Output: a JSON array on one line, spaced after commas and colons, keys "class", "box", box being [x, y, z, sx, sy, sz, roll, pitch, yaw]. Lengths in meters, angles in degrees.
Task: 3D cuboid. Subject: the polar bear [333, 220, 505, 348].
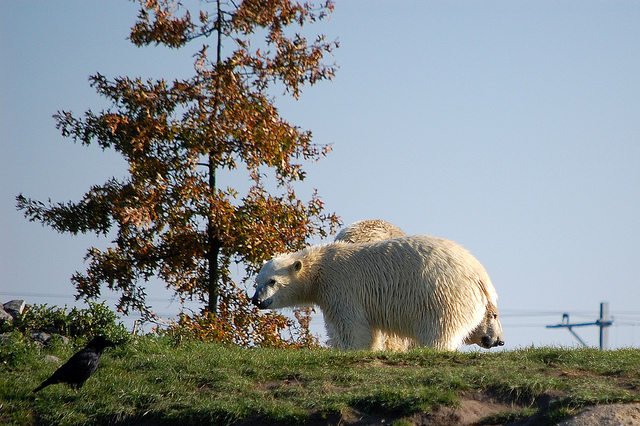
[{"class": "polar bear", "box": [3.444, 1.510, 34.030, 6.660, 3.681, 3.362, 0, -2, 34]}]
